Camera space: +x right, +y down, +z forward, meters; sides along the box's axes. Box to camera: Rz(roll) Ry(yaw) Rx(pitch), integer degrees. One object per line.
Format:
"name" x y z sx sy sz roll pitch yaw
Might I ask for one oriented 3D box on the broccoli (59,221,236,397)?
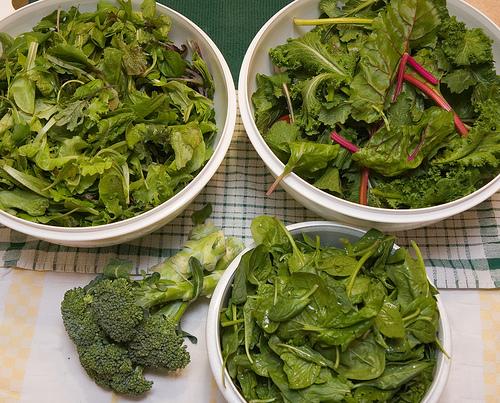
"broccoli" -0.271 0.336 1.506 0.379 0.245 0.525 37 61 18
